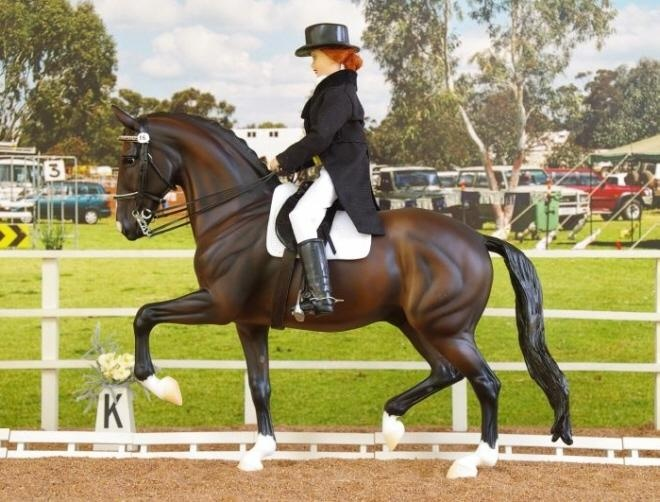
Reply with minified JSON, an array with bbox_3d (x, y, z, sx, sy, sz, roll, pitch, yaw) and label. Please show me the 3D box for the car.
[{"bbox_3d":[-6.237,-1.263,23.800,2.281,1.027,1.109,1,1,-24],"label":"car"}]
